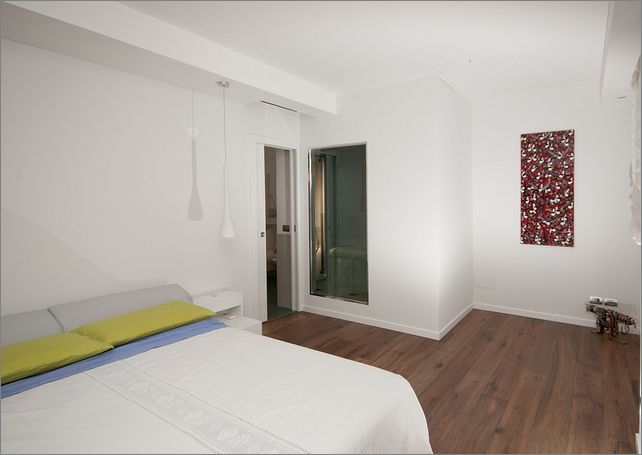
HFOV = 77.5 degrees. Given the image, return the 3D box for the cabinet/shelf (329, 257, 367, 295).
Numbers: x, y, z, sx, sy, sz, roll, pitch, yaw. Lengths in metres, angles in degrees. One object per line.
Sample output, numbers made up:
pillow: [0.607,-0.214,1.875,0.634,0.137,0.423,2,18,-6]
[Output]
cabinet/shelf: [0.386,0.651,5.369,0.533,0.509,0.249,-2,-1,39]

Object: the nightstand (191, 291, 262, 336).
nightstand: [-0.977,0.918,4.443,0.529,0.367,0.566,1,3,30]
